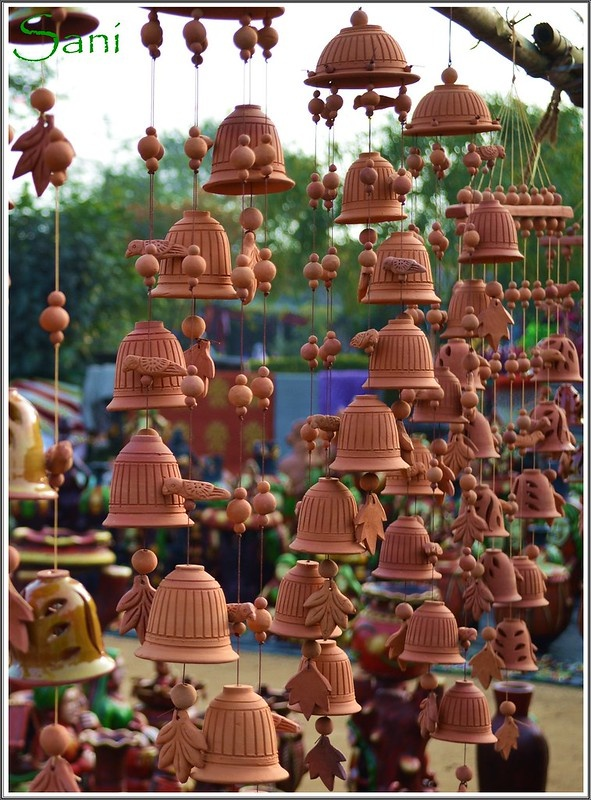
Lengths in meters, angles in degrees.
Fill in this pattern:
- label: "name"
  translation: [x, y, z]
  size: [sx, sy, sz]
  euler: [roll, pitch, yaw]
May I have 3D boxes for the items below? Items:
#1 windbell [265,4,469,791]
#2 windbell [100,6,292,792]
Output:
- label: "windbell"
  translation: [0.201, 0.005, 4.878]
  size: [0.451, 1.936, 0.589]
  euler: [3, -5, 5]
- label: "windbell"
  translation: [-0.194, -0.033, 4.646]
  size: [0.478, 1.871, 0.426]
  euler: [3, -5, -6]
